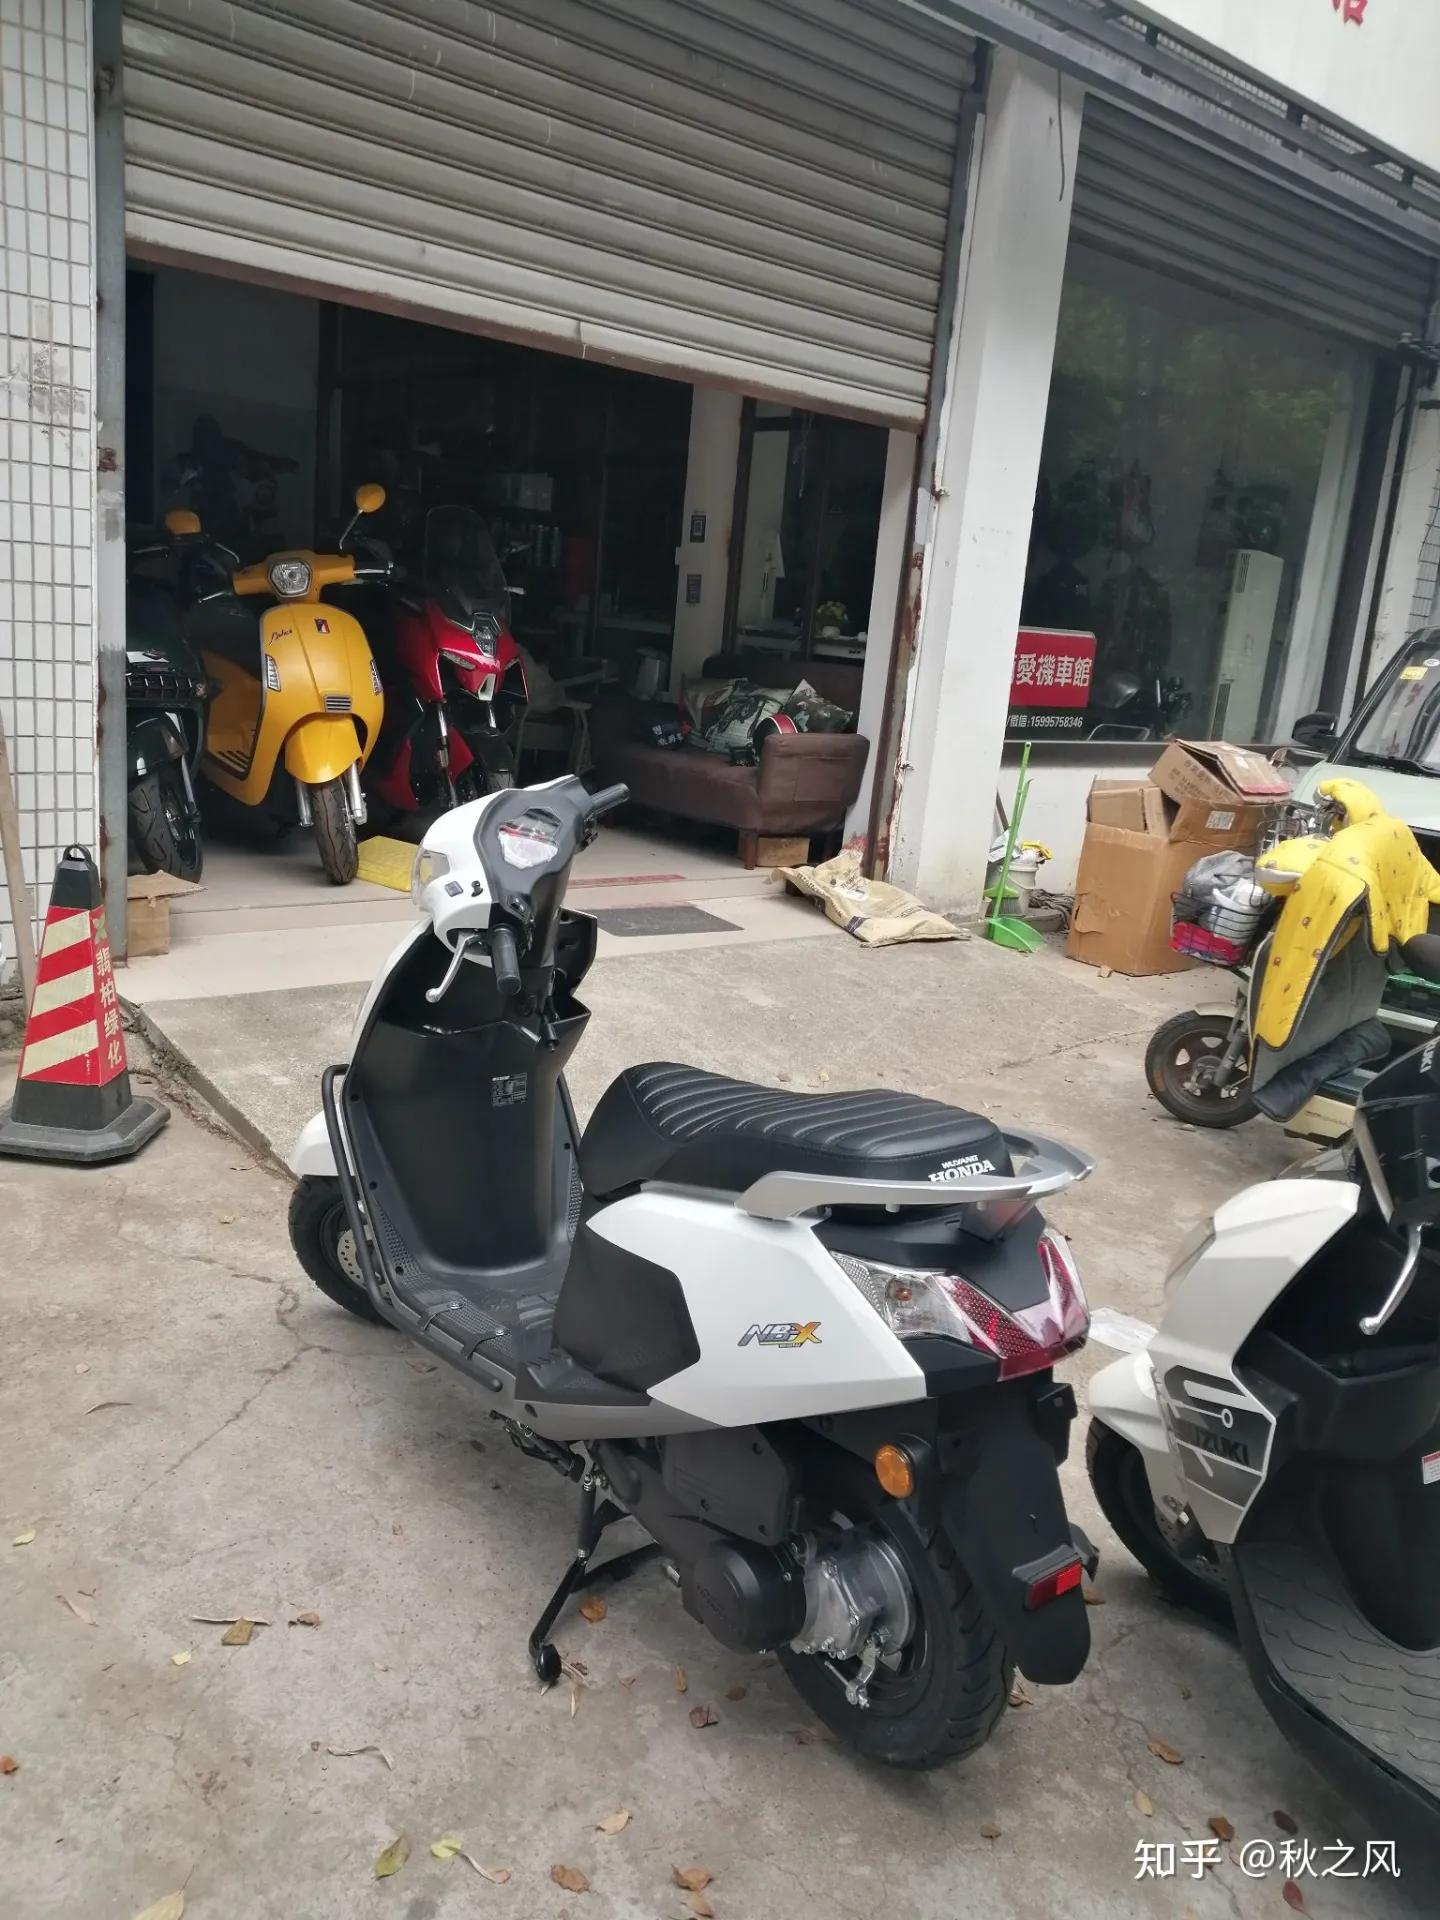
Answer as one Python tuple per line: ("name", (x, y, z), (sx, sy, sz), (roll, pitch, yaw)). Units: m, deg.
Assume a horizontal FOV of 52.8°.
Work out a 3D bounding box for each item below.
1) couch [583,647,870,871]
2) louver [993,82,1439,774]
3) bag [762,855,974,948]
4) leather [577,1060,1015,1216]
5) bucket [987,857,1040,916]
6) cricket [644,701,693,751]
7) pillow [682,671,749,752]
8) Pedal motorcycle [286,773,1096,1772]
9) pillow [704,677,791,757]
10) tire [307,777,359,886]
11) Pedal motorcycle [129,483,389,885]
("couch", (0.015, -1.108, 8.156), (0.874, 0.862, 1.700), (-4, 17, -38))
("louver", (2.787, -3.125, 8.268), (0.217, 2.905, 4.255), (25, 19, 39))
("bag", (0.657, -0.291, 6.821), (0.464, 0.196, 0.670), (-6, 28, -35))
("leather", (0.079, 0.164, 1.851), (0.406, 0.119, 0.237), (5, 7, 41))
("bucket", (1.538, -0.406, 7.494), (0.306, 0.277, 0.303), (1, 22, 0))
("cricket", (-0.317, -1.375, 8.492), (0.160, 0.216, 0.453), (-13, 32, -18))
("pillow", (-0.028, -1.439, 8.325), (0.279, 0.328, 0.568), (-4, 33, -7))
("Pedal motorcycle", (-0.068, 0.410, 2.117), (0.449, 1.210, 1.487), (-3, 15, -37))
("pillow", (0.149, -1.317, 8.005), (0.309, 0.356, 0.614), (-6, 29, -17))
("tire", (-1.657, -0.567, 6.218), (0.132, 0.417, 0.441), (-11, 31, -10))
("Pedal motorcycle", (-2.190, -1.487, 6.660), (0.961, 1.509, 2.298), (-10, 30, -33))
